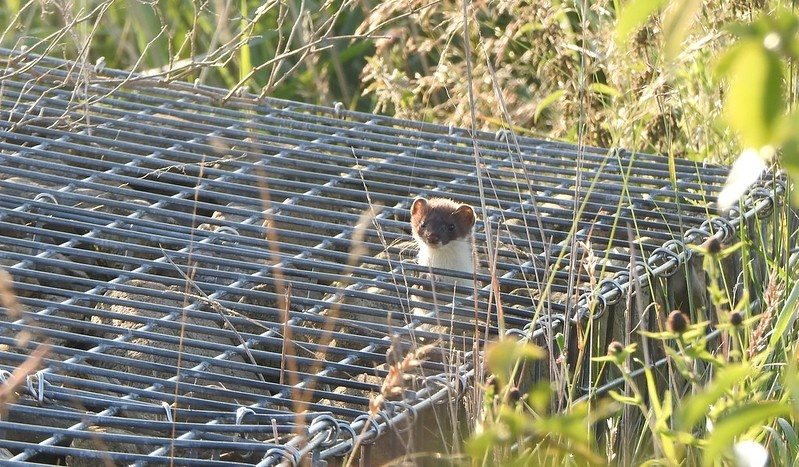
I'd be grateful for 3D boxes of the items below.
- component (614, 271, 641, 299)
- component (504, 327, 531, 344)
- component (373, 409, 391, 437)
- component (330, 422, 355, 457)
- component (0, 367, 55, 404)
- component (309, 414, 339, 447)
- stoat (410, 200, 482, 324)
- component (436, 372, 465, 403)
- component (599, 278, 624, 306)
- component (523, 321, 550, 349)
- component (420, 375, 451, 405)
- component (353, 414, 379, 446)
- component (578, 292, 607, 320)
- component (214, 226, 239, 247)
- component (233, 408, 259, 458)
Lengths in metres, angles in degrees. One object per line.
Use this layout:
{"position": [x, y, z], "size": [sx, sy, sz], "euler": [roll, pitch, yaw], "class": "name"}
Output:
{"position": [1.169, 0.245, 8.960], "size": [0.140, 0.063, 0.175], "euler": [-3, 35, 23], "class": "component"}
{"position": [0.606, 0.531, 8.928], "size": [0.114, 0.041, 0.115], "euler": [-1, -20, 46], "class": "component"}
{"position": [-0.095, 0.949, 8.528], "size": [0.030, 0.113, 0.125], "euler": [3, 28, -40], "class": "component"}
{"position": [-0.280, 1.017, 8.452], "size": [0.142, 0.128, 0.032], "euler": [18, 0, 20], "class": "component"}
{"position": [-1.875, 0.755, 8.563], "size": [0.269, 0.136, 0.178], "euler": [12, 14, -9], "class": "component"}
{"position": [-0.365, 0.981, 8.442], "size": [0.148, 0.131, 0.047], "euler": [15, 5, 13], "class": "component"}
{"position": [0.267, 0.046, 10.119], "size": [0.277, 0.440, 0.882], "euler": [0, -33, 6], "class": "stoat"}
{"position": [0.259, 0.779, 8.542], "size": [0.041, 0.147, 0.160], "euler": [18, -1, -41], "class": "component"}
{"position": [1.113, 0.299, 9.012], "size": [0.122, 0.138, 0.053], "euler": [-21, -19, 24], "class": "component"}
{"position": [0.687, 0.513, 8.627], "size": [0.043, 0.175, 0.176], "euler": [8, 42, -13], "class": "component"}
{"position": [0.189, 0.792, 8.629], "size": [0.158, 0.140, 0.038], "euler": [13, -25, -8], "class": "component"}
{"position": [-0.159, 0.979, 8.469], "size": [0.138, 0.140, 0.049], "euler": [12, -9, -3], "class": "component"}
{"position": [1.021, 0.383, 8.893], "size": [0.177, 0.154, 0.046], "euler": [-1, 8, -28], "class": "component"}
{"position": [-0.944, 0.004, 9.393], "size": [0.135, 0.117, 0.030], "euler": [2, -3, 7], "class": "component"}
{"position": [-0.782, 1.001, 8.538], "size": [0.122, 0.227, 0.191], "euler": [15, 15, -9], "class": "component"}
